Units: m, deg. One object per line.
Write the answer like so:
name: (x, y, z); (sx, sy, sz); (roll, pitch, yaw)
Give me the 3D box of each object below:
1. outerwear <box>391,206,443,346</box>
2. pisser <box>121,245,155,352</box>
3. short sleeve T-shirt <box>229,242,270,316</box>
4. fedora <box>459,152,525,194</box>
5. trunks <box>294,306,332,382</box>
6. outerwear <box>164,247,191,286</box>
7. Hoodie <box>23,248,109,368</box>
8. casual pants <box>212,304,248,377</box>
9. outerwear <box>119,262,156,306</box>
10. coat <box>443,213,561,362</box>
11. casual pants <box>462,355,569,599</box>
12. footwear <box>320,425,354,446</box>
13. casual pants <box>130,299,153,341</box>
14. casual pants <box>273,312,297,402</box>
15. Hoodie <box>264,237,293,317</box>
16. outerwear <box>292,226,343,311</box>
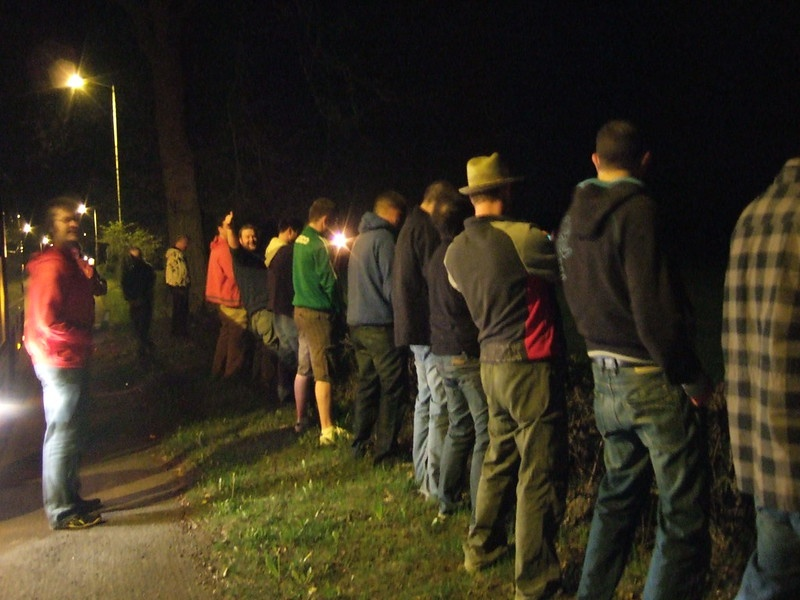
outerwear: (0.160, -0.188, 6.379); (0.434, 1.525, 0.930); (-4, 7, -9)
pisser: (-4.950, 0.170, 14.003); (0.633, 2.528, 0.654); (-2, 19, -23)
short sleeve T-shirt: (-2.231, -0.374, 10.719); (0.681, 1.144, 0.630); (-2, 37, -27)
fedora: (0.642, -0.930, 5.549); (0.311, 0.161, 0.311); (-15, 11, 40)
trunks: (-1.035, 0.477, 8.521); (0.405, 1.002, 0.298); (4, 17, 29)
outerwear: (-4.741, -0.724, 15.443); (0.408, 0.827, 0.497); (-9, 15, -38)
Hoodie: (-3.260, 0.068, 7.041); (0.605, 1.185, 0.349); (-5, 6, -34)
casual pants: (-2.696, 0.668, 11.671); (0.374, 1.470, 0.529); (-12, 27, -37)
outerwear: (-4.929, -0.363, 13.789); (0.554, 0.838, 0.685); (-4, 6, -23)
coat: (0.752, -0.120, 5.513); (0.947, 1.135, 0.551); (-5, 8, 46)
casual pants: (0.842, 1.261, 5.332); (0.712, 1.656, 0.499); (0, 5, 20)
footwear: (-0.733, 1.519, 8.271); (0.157, 0.190, 0.361); (3, 8, 37)
casual pants: (-4.843, 0.373, 13.740); (0.389, 0.729, 0.421); (-4, 6, -22)
casual pants: (-1.566, 0.759, 10.048); (0.314, 1.358, 0.559); (-10, 33, -19)
Hoodie: (-1.575, -0.302, 9.566); (0.416, 1.028, 0.766); (-3, 11, -18)
outerwear: (-0.936, -0.351, 8.309); (0.401, 0.905, 0.568); (-17, 24, -42)
